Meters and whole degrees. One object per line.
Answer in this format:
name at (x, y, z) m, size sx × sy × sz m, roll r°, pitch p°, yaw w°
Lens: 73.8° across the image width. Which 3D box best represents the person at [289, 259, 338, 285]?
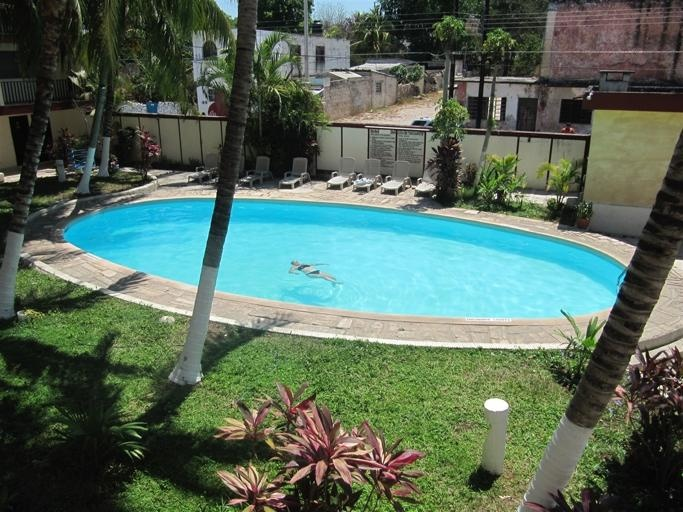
person at (-0.846, 0.370, 13.922) m, size 1.699 × 0.330 × 0.994 m, roll 10°, pitch 16°, yaw 21°
